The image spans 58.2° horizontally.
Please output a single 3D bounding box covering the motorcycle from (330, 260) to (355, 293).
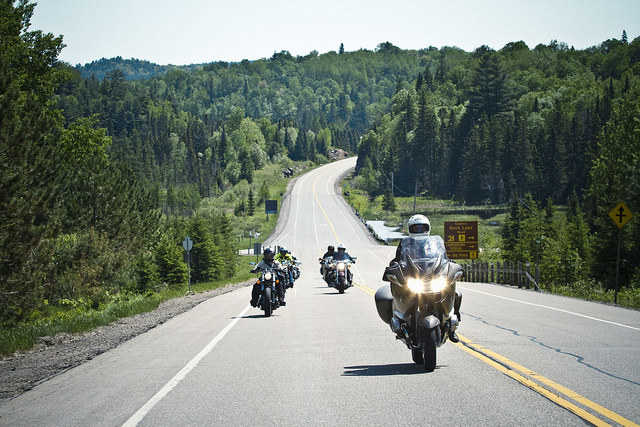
[{"bbox_3d":[1.116,3.166,29.080,0.864,1.608,1.216,-3,-1,-4],"label":"motorcycle"}]

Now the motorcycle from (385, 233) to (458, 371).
[{"bbox_3d":[2.386,2.013,13.368,1.527,3.144,1.155,-3,0,11],"label":"motorcycle"}]

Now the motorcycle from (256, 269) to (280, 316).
[{"bbox_3d":[-1.864,2.767,20.298,0.615,1.604,1.007,-3,0,4],"label":"motorcycle"}]

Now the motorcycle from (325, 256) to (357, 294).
[{"bbox_3d":[1.122,2.975,29.579,1.374,1.849,2.919,0,3,0],"label":"motorcycle"}]

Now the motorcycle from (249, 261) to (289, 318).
[{"bbox_3d":[-1.928,2.438,21.043,1.172,1.908,2.678,-1,12,-5],"label":"motorcycle"}]

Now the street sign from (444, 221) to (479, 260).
[{"bbox_3d":[10.105,1.907,41.154,2.222,3.012,0.123,-1,0,12],"label":"street sign"}]
